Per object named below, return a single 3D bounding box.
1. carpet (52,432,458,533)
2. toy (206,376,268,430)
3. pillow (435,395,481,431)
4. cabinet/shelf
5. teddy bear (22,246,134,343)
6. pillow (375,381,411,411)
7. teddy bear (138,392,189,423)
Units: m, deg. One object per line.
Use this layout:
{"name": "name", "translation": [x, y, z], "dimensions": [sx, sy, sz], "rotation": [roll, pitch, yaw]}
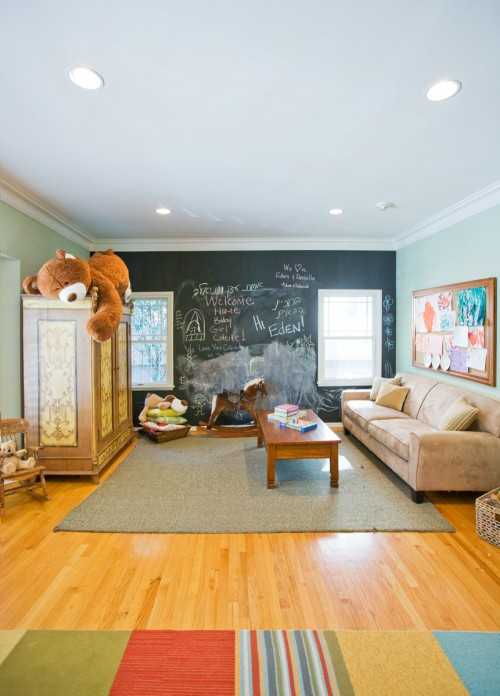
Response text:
{"name": "carpet", "translation": [-0.014, 1.049, 3.733], "dimensions": [2.392, 0.085, 1.789], "rotation": [0, 7, 1]}
{"name": "toy", "translation": [-0.175, 0.617, 5.162], "dimensions": [0.519, 0.442, 0.216], "rotation": [-1, -20, -2]}
{"name": "pillow", "translation": [1.549, 0.516, 3.477], "dimensions": [0.257, 0.208, 0.428], "rotation": [2, 7, 15]}
{"name": "cabinet/shelf", "translation": [-1.402, 0.336, 3.667], "dimensions": [0.578, 1.436, 1.520], "rotation": [0, 2, -8]}
{"name": "teddy bear", "translation": [-1.122, -0.427, 3.227], "dimensions": [0.572, 0.373, 0.880], "rotation": [3, 14, -3]}
{"name": "pillow", "translation": [1.413, 0.467, 4.660], "dimensions": [0.084, 0.256, 0.275], "rotation": [33, -10, -31]}
{"name": "teddy bear", "translation": [-1.002, 0.666, 5.227], "dimensions": [0.350, 0.204, 0.469], "rotation": [1, 0, -7]}
